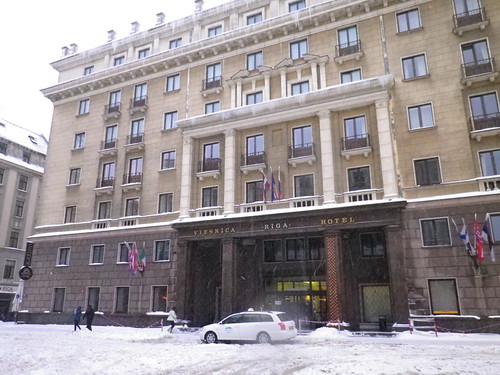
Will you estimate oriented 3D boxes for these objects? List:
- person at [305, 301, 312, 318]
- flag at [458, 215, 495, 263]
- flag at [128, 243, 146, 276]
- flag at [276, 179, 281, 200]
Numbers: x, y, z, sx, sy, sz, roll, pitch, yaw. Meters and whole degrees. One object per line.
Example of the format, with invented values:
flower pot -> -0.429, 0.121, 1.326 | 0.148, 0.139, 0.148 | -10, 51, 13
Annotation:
person -> 5.090, 10.448, 34.417 | 0.659, 1.326, 0.221 | -7, -20, 12
flag -> 15.494, 3.374, 27.470 | 2.384, 3.393, 1.468 | -11, -21, 23
flag -> -10.461, 6.409, 37.208 | 1.653, 3.170, 2.657 | 3, -20, -14
flag -> 2.454, 0.116, 34.130 | 0.424, 2.012, 0.887 | -3, -19, 2
